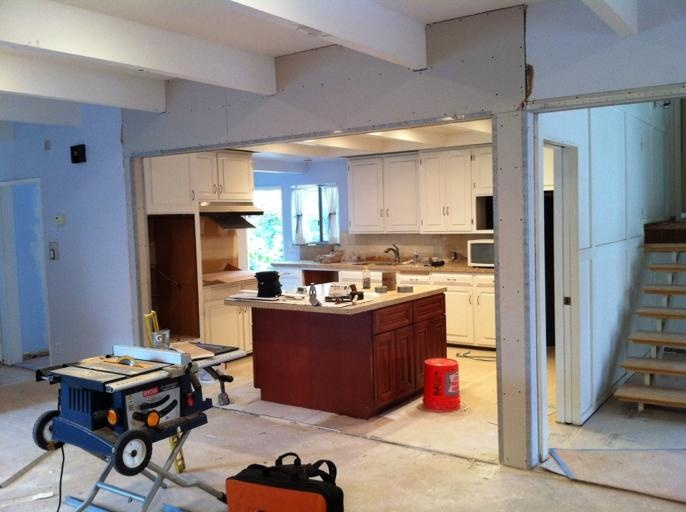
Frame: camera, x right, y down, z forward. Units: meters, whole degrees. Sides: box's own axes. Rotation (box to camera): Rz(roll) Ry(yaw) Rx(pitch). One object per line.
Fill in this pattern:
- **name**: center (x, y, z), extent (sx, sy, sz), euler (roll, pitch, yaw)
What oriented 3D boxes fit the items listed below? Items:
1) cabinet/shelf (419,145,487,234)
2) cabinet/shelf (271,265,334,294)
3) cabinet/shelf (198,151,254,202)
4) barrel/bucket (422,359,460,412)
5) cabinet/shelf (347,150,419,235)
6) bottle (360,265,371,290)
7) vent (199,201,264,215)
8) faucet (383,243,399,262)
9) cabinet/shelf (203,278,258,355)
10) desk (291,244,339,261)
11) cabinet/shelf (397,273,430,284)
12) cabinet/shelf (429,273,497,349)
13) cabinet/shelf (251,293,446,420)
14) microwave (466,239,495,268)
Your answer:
- **cabinet/shelf**: center (1.558, -0.948, 7.598), extent (1.276, 1.160, 0.459), euler (0, 0, 37)
- **cabinet/shelf**: center (-0.644, 0.349, 8.862), extent (1.352, 0.475, 0.357), euler (5, 10, 44)
- **cabinet/shelf**: center (-1.673, -0.994, 6.951), extent (0.438, 0.657, 1.096), euler (2, 6, 39)
- **barrel/bucket**: center (0.969, 1.275, 5.529), extent (0.450, 0.483, 0.444), euler (0, -2, 0)
- **cabinet/shelf**: center (0.749, -0.920, 8.437), extent (1.338, 1.188, 0.486), euler (2, 6, 38)
- **bottle**: center (0.254, 0.256, 5.940), extent (0.077, 0.221, 0.185), euler (-1, 8, 7)
- **vent**: center (-1.417, -0.596, 6.952), extent (0.192, 0.199, 1.015), euler (3, 8, 32)
- **faucet**: center (0.785, -0.043, 8.614), extent (0.124, 0.262, 0.299), euler (-8, 9, -35)
- **cabinet/shelf**: center (-1.431, 0.805, 7.303), extent (1.115, 0.990, 0.386), euler (-8, 15, -40)
- **desk**: center (-0.428, -0.064, 9.618), extent (0.381, 0.315, 1.115), euler (-6, 8, -27)
- **cabinet/shelf**: center (0.963, 0.336, 7.626), extent (0.462, 0.143, 0.190), euler (3, 9, 35)
- **cabinet/shelf**: center (1.851, 0.712, 7.499), extent (1.112, 1.052, 0.521), euler (1, 6, 35)
- **cabinet/shelf**: center (0.008, 0.955, 5.678), extent (1.379, 0.830, 1.347), euler (0, 1, 30)
- **microwave**: center (1.806, -0.026, 7.142), extent (0.398, 0.327, 0.232), euler (-1, -2, 41)
